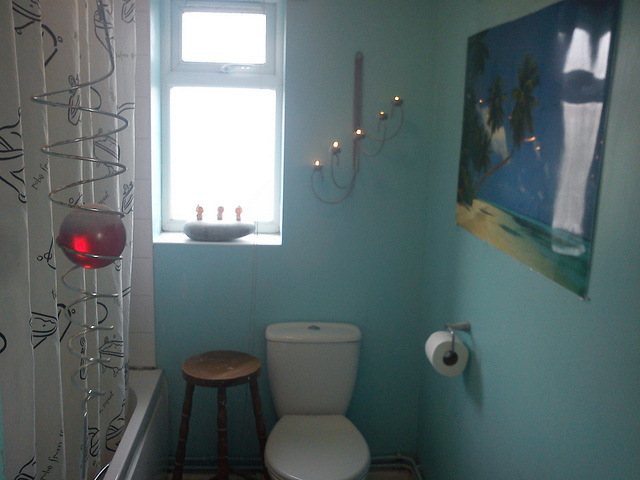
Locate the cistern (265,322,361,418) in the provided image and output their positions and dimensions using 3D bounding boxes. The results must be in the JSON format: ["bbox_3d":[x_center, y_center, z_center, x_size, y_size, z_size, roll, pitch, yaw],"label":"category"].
[{"bbox_3d":[-0.031,0.696,2.902,0.485,0.542,0.293,-1,12,-1],"label":"cistern"}]

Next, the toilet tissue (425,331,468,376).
[{"bbox_3d":[0.540,0.480,2.341,0.161,0.166,0.107,-1,8,-2],"label":"toilet tissue"}]

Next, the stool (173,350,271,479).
[{"bbox_3d":[-0.423,0.883,2.681,0.525,0.601,0.338,2,8,20],"label":"stool"}]

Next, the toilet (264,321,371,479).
[{"bbox_3d":[-0.028,0.743,2.621,0.481,0.554,0.633,-1,8,-2],"label":"toilet"}]
